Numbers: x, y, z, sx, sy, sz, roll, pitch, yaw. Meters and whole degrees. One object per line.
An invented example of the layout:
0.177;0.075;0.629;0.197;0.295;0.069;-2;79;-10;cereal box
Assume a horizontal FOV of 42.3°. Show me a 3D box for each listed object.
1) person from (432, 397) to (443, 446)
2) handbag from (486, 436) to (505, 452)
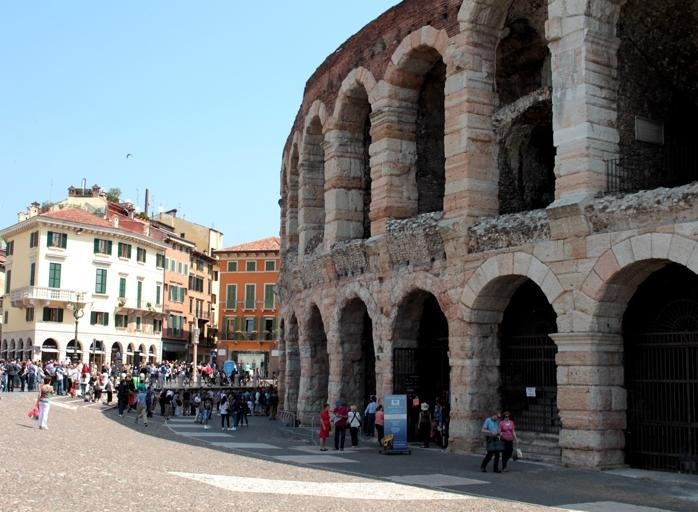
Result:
2.596;4.783;25.958;0.292;1.373;0.631;-1;-14;6;person
3.415;4.433;20.949;0.274;0.356;0.374;2;-43;-2;handbag
